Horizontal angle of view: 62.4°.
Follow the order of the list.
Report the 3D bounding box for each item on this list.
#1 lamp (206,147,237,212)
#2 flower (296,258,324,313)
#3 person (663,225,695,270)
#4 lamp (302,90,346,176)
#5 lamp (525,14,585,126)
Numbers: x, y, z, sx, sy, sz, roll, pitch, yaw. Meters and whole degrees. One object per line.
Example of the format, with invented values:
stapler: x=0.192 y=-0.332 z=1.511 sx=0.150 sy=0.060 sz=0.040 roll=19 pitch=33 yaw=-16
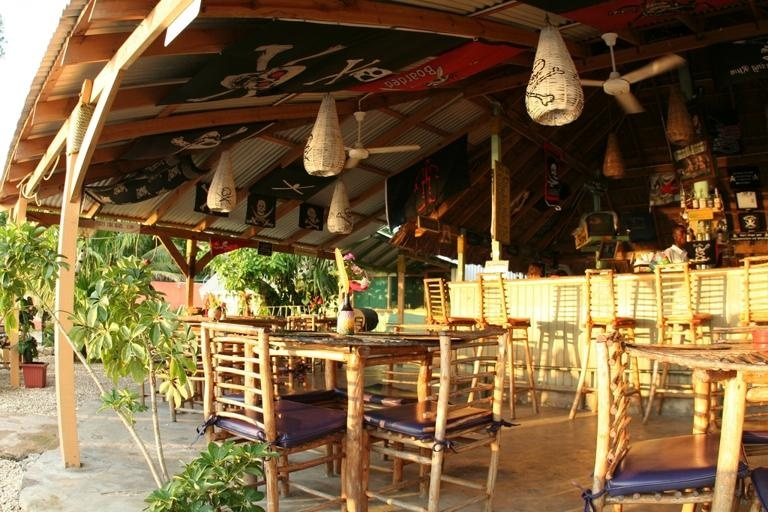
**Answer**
lamp: x=-2.278 y=-1.080 z=8.909 sx=0.344 sy=0.932 sz=0.916 roll=1 pitch=-4 yaw=-15
flower: x=-2.075 y=0.681 z=17.889 sx=0.743 sy=1.293 sz=0.440 roll=-3 pitch=-5 yaw=29
person: x=4.368 y=-0.147 z=9.405 sx=0.409 sy=0.575 sz=0.816 roll=7 pitch=9 yaw=26
lamp: x=-0.671 y=-1.434 z=7.298 sx=0.445 sy=0.980 sz=0.346 roll=0 pitch=-5 yaw=-6
lamp: x=1.661 y=-1.817 z=6.132 sx=0.523 sy=1.069 sz=0.325 roll=-1 pitch=-5 yaw=12
